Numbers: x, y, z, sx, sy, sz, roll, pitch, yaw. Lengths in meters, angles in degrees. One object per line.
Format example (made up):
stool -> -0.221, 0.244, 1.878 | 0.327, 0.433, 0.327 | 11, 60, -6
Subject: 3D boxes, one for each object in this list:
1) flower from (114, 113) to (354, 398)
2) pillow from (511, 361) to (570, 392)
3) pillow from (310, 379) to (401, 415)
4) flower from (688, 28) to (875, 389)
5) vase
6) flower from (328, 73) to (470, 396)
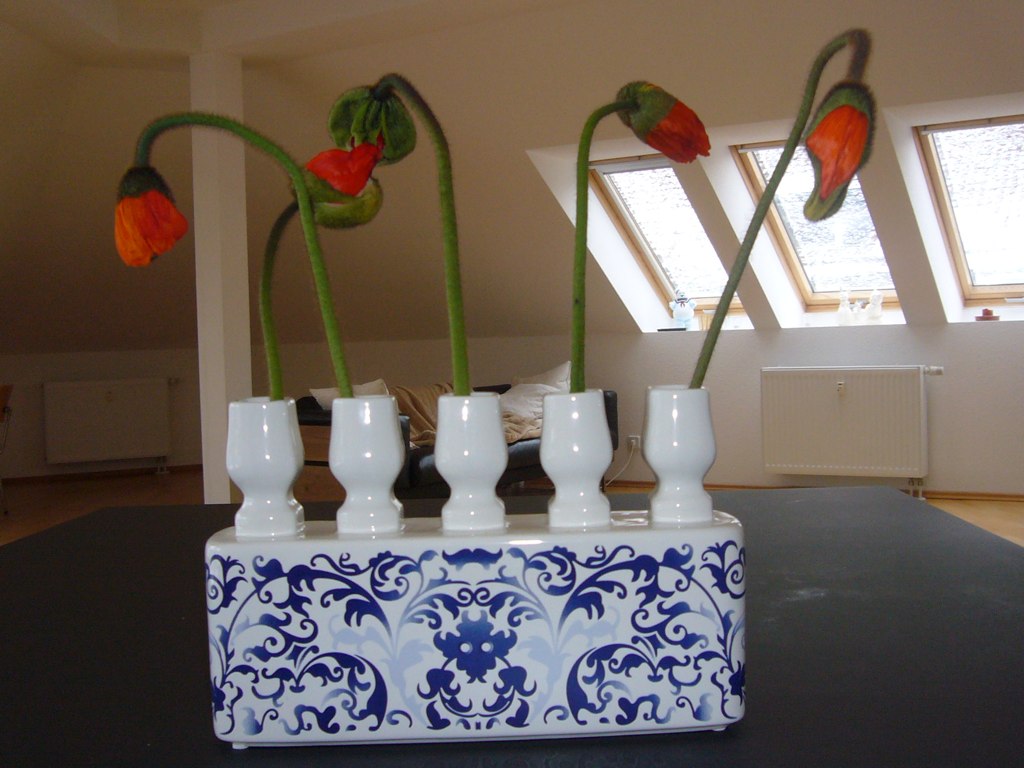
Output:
flower -> -0.283, -0.146, 0.851 | 0.260, 0.329, 0.176 | -1, 6, 6
pillow -> 0.267, -0.049, 5.948 | 0.275, 0.093, 0.248 | -12, -1, 39
pillow -> -0.582, 0.033, 2.798 | 0.196, 0.067, 0.157 | -9, 3, -36
flower -> 0.288, -0.202, 0.870 | 0.208, 0.424, 0.343 | 1, 6, 25
vase -> -0.035, 0.171, 0.777 | 0.526, 0.327, 0.122 | -1, 5, 1
flower -> -0.109, -0.145, 0.781 | 0.111, 0.372, 0.087 | -14, -19, 16
